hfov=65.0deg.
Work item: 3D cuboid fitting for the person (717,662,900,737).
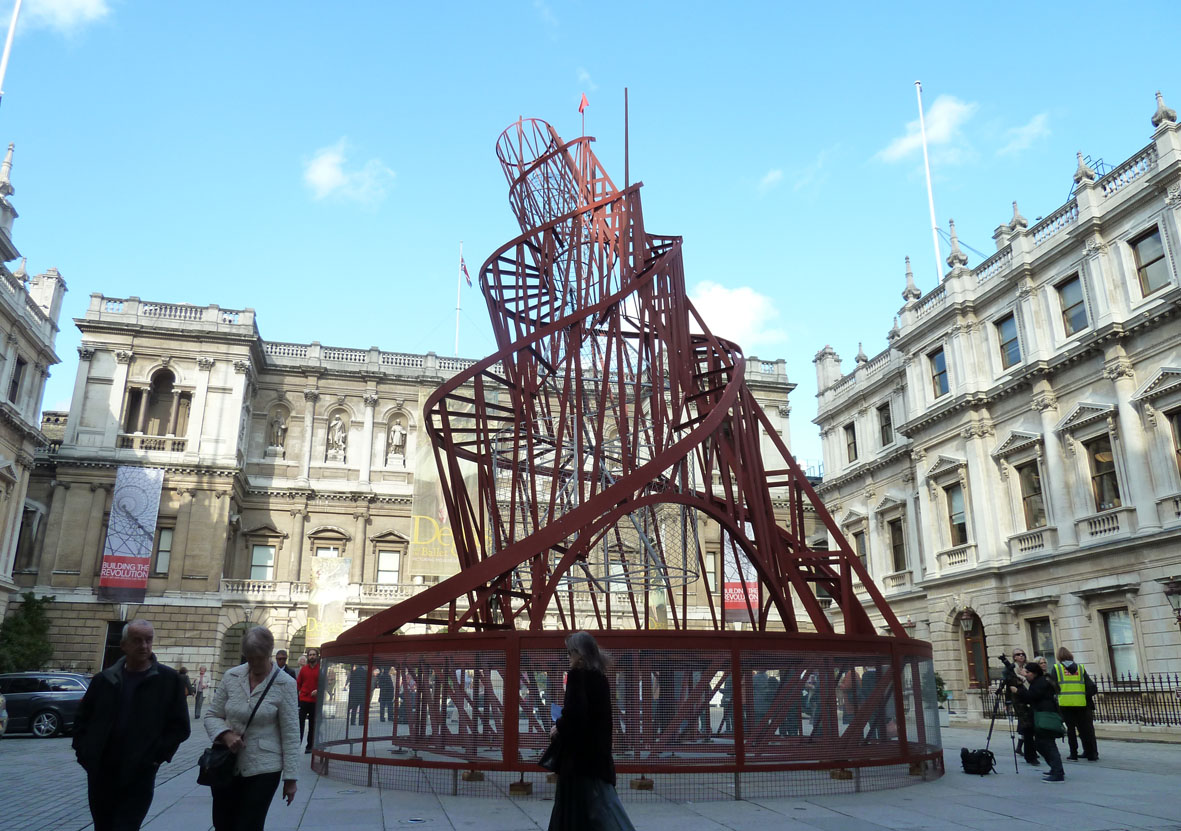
[{"bbox_3d":[3.493,4.562,14.760,3.362,1.143,0.594,10,-21,-26],"label":"person"}]

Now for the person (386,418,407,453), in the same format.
[{"bbox_3d":[-10.525,1.075,50.357,1.080,2.316,0.336,8,-21,-21],"label":"person"}]

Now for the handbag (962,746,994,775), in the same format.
[{"bbox_3d":[7.056,6.354,16.895,0.528,0.391,0.520,-2,-27,10],"label":"handbag"}]

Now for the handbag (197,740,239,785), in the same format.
[{"bbox_3d":[-4.096,3.827,10.162,0.409,0.507,0.237,2,-19,-4],"label":"handbag"}]

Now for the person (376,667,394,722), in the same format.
[{"bbox_3d":[-3.411,4.607,15.363,0.352,0.846,0.139,-18,-26,42],"label":"person"}]

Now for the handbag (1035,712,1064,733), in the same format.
[{"bbox_3d":[8.371,5.623,16.873,0.536,0.420,0.179,5,-20,-13],"label":"handbag"}]

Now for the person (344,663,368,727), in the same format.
[{"bbox_3d":[-3.978,4.898,15.868,0.330,0.305,1.182,2,-52,-18],"label":"person"}]
